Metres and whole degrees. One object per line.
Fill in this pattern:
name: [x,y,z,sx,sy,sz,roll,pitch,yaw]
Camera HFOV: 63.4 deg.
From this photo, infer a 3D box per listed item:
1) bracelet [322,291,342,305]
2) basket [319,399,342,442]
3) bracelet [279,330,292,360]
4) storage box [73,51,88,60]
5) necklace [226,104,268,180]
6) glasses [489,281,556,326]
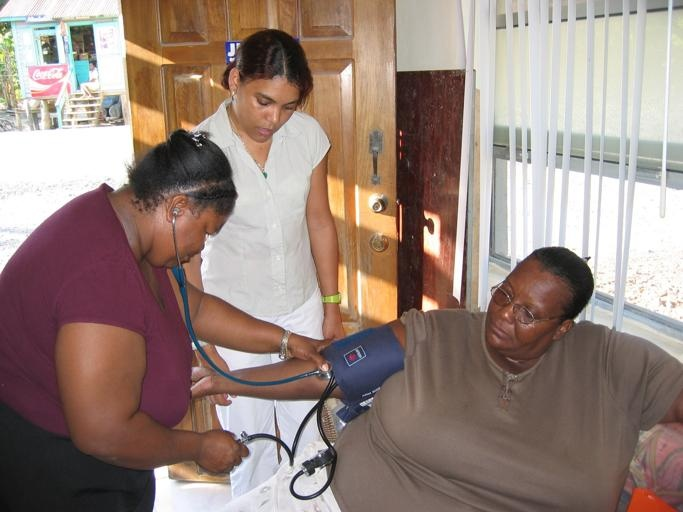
bracelet: [-0.045,0.172,2.238,0.046,0.056,0.051,-1,-8,9]
basket: [-0.039,0.658,2.391,0.075,0.262,0.155,0,-1,5]
bracelet: [-0.195,0.296,1.864,0.058,0.086,0.031,1,-5,-2]
storage box: [-2.612,-2.011,5.539,0.147,0.075,0.027,-7,15,-28]
necklace: [-0.340,-0.426,2.043,0.136,0.276,0.053,-28,15,-19]
glasses: [0.515,0.134,1.580,0.182,0.096,0.095,8,15,27]
